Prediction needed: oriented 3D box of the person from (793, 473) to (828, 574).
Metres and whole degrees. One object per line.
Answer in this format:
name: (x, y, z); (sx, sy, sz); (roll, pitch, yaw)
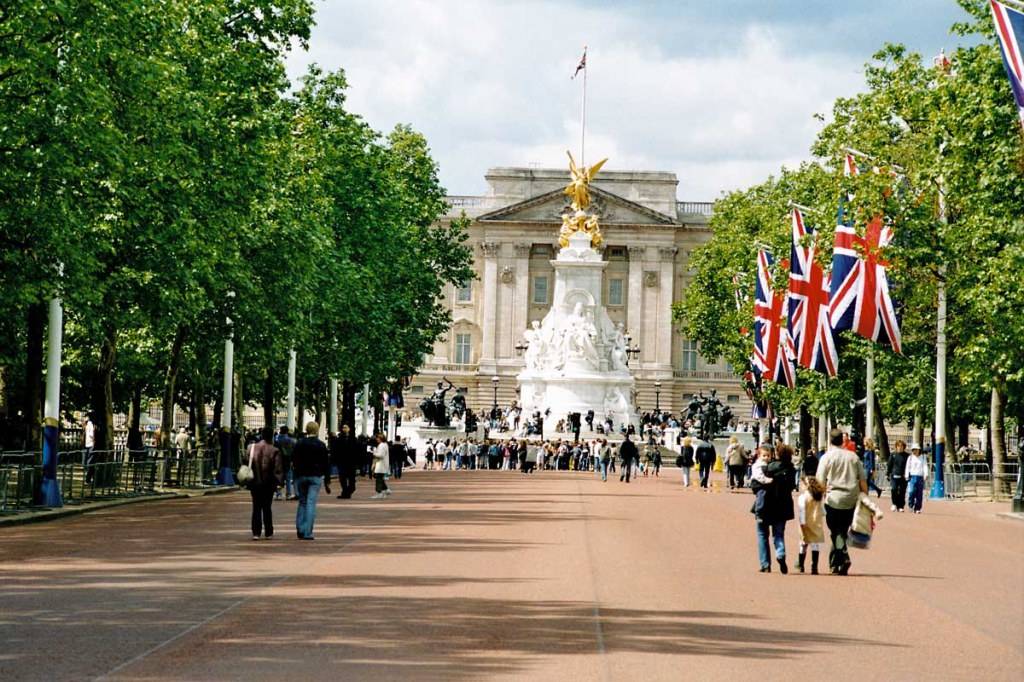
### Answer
person: (5.737, 3.373, 24.936); (0.725, 2.309, 0.810); (1, 0, 2)

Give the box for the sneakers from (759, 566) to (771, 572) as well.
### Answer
sneakers: (4.686, 4.206, 24.685); (0.203, 0.123, 0.361); (1, -7, 9)

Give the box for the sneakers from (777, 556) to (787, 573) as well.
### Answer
sneakers: (5.034, 4.134, 24.786); (0.176, 0.304, 0.450); (1, -7, 10)
